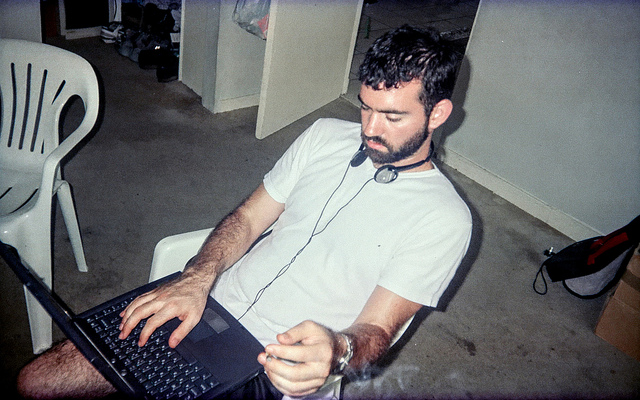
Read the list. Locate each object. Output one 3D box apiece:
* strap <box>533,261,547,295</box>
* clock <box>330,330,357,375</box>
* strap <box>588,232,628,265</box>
[{"bbox_3d":[1.623,0.580,3.252,0.104,0.115,0.210,21,36,20],"label":"strap"},{"bbox_3d":[0.103,0.613,1.798,0.129,0.155,0.058,8,-14,29],"label":"clock"},{"bbox_3d":[1.911,0.323,3.075,0.091,0.345,0.104,27,39,-18],"label":"strap"}]
